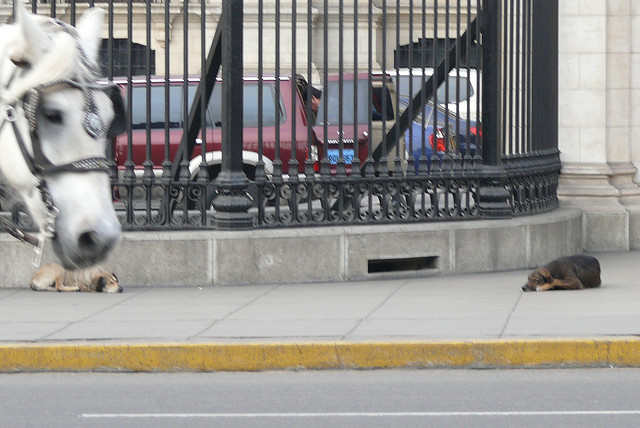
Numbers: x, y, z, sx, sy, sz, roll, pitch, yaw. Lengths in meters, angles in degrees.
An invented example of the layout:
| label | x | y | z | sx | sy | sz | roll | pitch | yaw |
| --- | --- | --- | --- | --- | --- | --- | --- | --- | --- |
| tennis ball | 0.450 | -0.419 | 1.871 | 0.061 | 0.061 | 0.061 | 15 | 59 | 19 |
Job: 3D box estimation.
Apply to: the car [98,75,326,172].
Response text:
| label | x | y | z | sx | sy | sz | roll | pitch | yaw |
| --- | --- | --- | --- | --- | --- | --- | --- | --- | --- |
| car | -1.543 | -1.245 | 26.171 | 2.690 | 1.280 | 1.502 | 2 | 6 | -2 |

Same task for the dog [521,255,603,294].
| label | x | y | z | sx | sy | sz | roll | pitch | yaw |
| --- | --- | --- | --- | --- | --- | --- | --- | --- | --- |
| dog | 3.163 | 0.789 | 23.543 | 0.799 | 0.269 | 0.501 | -8 | -3 | -26 |

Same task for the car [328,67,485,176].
| label | x | y | z | sx | sy | sz | roll | pitch | yaw |
| --- | --- | --- | --- | --- | --- | --- | --- | --- | --- |
| car | 1.237 | -1.631 | 29.374 | 2.728 | 1.331 | 1.594 | 1 | 4 | 7 |
